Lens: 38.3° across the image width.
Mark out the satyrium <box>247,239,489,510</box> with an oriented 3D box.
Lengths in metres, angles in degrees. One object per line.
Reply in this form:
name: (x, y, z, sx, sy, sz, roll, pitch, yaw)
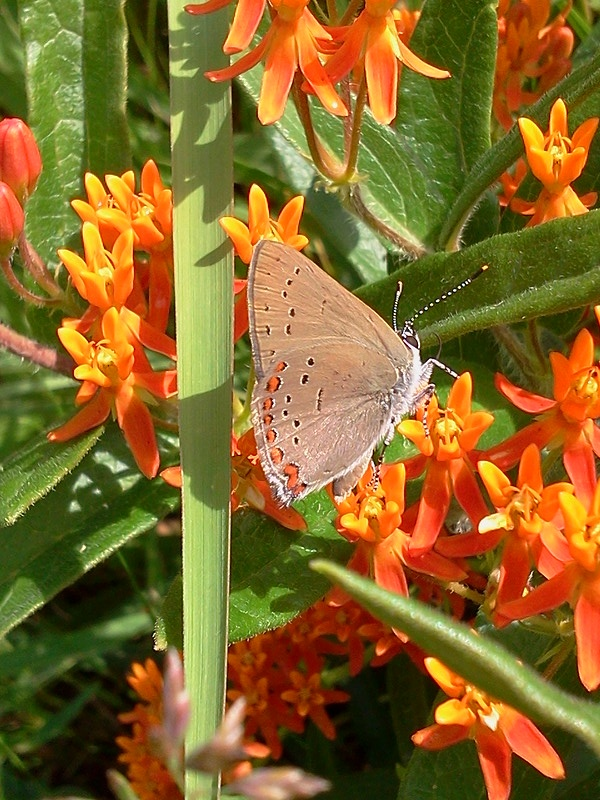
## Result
satyrium: (0.042, -0.051, 1.551, 0.427, 0.450, 0.347, -41, 100, 2)
